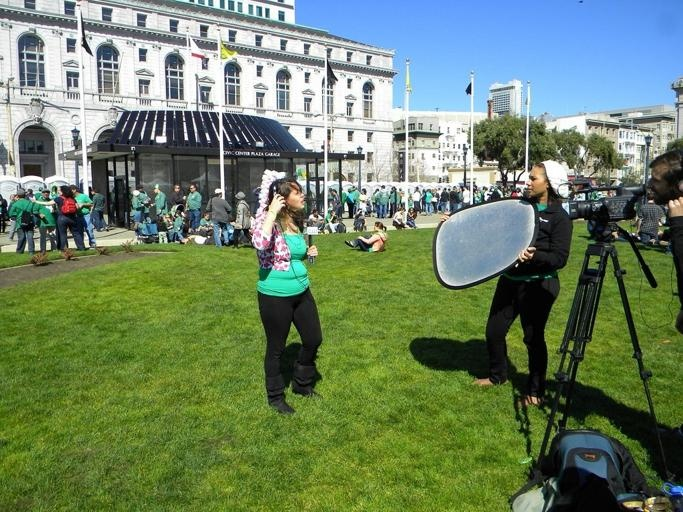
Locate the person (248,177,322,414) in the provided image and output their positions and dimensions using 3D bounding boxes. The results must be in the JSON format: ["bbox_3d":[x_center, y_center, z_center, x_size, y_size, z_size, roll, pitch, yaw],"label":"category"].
[{"bbox_3d":[-0.629,0.401,6.353,0.718,2.723,0.578,-3,12,-11],"label":"person"}]

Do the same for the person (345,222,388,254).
[{"bbox_3d":[0.809,-0.546,17.362,1.265,1.053,0.697,2,6,24],"label":"person"}]

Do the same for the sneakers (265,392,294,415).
[{"bbox_3d":[-0.705,1.699,6.423,0.353,0.284,0.149,1,3,17],"label":"sneakers"}]

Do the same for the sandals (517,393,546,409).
[{"bbox_3d":[2.217,1.704,6.498,0.300,0.164,0.079,1,0,9],"label":"sandals"}]

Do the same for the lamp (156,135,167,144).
[{"bbox_3d":[-8.551,-5.529,26.245,0.509,0.331,1.013,-5,13,-18],"label":"lamp"}]

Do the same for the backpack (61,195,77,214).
[{"bbox_3d":[-8.408,-1.548,17.074,0.362,0.707,0.555,-1,3,29],"label":"backpack"}]

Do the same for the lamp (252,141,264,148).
[{"bbox_3d":[-4.049,-5.499,27.239,0.459,0.364,0.460,-1,4,-33],"label":"lamp"}]
